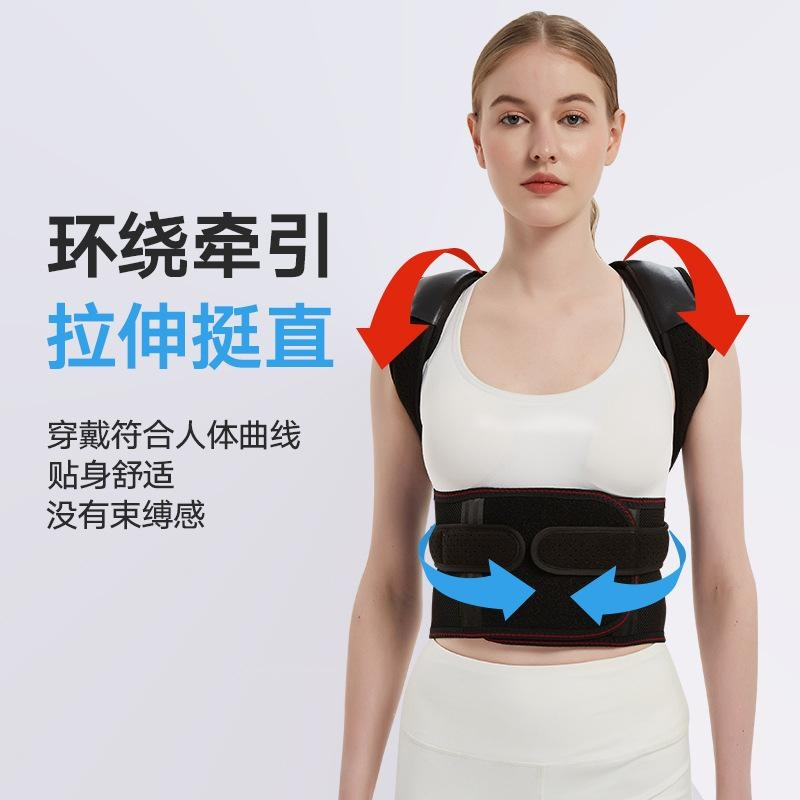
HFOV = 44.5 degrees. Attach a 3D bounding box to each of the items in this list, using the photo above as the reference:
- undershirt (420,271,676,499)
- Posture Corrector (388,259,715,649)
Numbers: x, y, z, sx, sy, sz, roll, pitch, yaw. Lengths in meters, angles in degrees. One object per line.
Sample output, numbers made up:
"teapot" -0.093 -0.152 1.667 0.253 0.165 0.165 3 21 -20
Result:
"undershirt" 0.286 0.023 2.045 0.710 0.549 0.345 -1 -10 6
"Posture Corrector" 0.281 0.107 2.012 0.687 0.706 0.367 -3 -5 1
